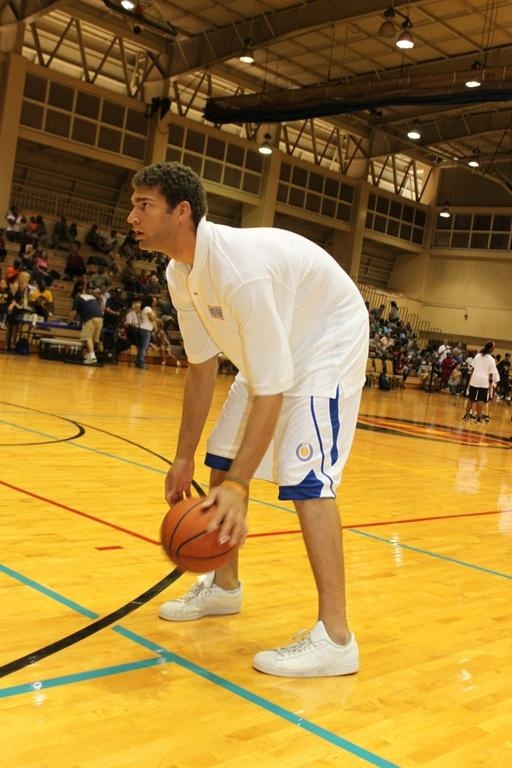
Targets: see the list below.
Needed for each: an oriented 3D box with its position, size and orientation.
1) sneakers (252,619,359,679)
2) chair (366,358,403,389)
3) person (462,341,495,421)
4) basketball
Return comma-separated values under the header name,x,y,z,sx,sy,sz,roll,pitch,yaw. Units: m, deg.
name,x,y,z,sx,sy,sz,roll,pitch,yaw
sneakers,0.152,0.717,1.570,0.322,0.151,0.117,2,-6,-11
chair,4.559,-0.326,20.302,1.179,0.785,0.473,-2,7,-44
person,5.433,-0.035,13.629,0.791,1.846,0.580,18,21,38
basketball,-0.154,0.351,1.334,0.176,0.167,0.207,-9,-13,19
